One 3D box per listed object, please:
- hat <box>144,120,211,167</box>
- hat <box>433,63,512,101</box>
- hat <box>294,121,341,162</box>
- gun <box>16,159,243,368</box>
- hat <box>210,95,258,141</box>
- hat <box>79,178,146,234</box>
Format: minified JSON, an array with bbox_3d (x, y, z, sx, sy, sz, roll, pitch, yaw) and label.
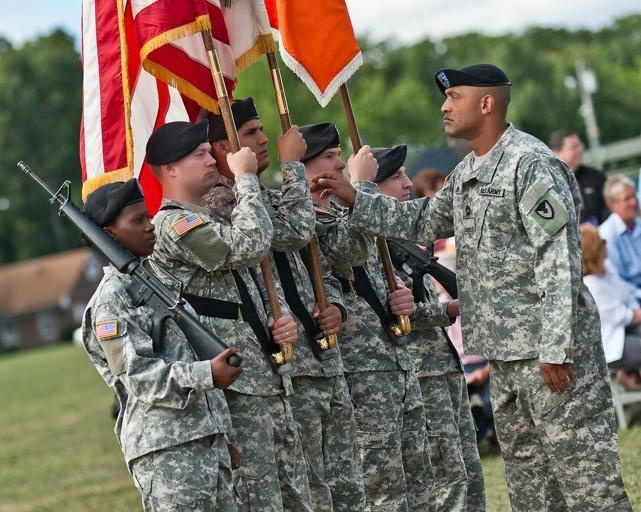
[{"bbox_3d":[-0.967,-0.790,7.980,0.456,0.229,0.348,-9,-7,13],"label":"hat"},{"bbox_3d":[1.081,-1.243,8.177,0.570,0.213,0.495,0,-5,23],"label":"hat"},{"bbox_3d":[-0.026,-0.885,8.833,0.297,0.127,0.248,-14,46,-4],"label":"hat"},{"bbox_3d":[-1.179,0.028,7.466,1.210,1.175,0.395,-9,6,28],"label":"gun"},{"bbox_3d":[-0.636,-0.956,8.321,0.340,0.227,0.266,-38,-5,16],"label":"hat"},{"bbox_3d":[-1.379,-0.365,7.724,0.339,0.178,0.292,-28,10,9],"label":"hat"}]
